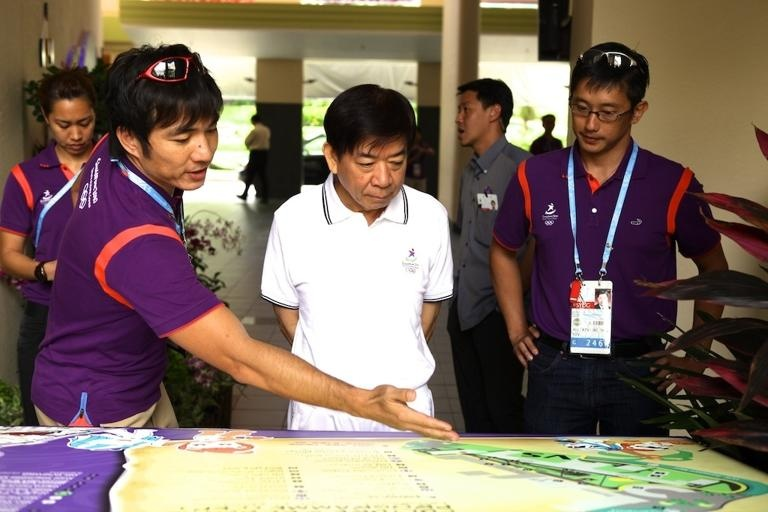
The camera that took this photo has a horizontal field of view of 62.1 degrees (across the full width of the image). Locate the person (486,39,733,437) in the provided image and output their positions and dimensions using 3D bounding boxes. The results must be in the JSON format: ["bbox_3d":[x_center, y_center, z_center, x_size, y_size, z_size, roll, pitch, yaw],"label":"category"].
[{"bbox_3d":[0.889,-0.040,2.593,0.889,1.593,0.399,3,13,9],"label":"person"}]

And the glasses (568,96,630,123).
[{"bbox_3d":[0.846,-0.570,2.518,0.233,0.081,0.114,7,14,22],"label":"glasses"}]

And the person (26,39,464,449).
[{"bbox_3d":[-0.624,0.023,1.966,1.212,1.306,0.359,9,15,30],"label":"person"}]

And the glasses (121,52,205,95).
[{"bbox_3d":[-0.634,-0.563,1.930,0.126,0.044,0.130,-17,8,36],"label":"glasses"}]
